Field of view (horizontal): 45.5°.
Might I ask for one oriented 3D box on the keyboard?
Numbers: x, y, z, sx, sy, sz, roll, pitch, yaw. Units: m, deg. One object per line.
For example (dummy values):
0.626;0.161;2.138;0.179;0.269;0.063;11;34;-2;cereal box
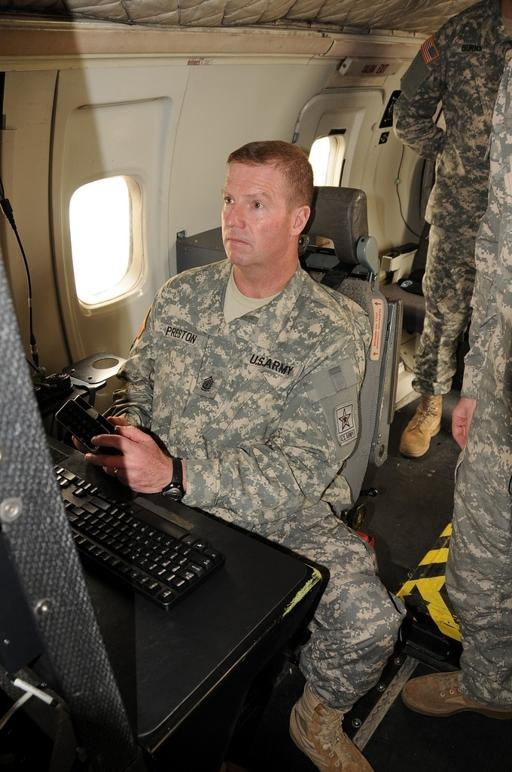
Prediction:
-0.210;0.264;1.074;0.317;0.043;0.107;22;47;40;keyboard
